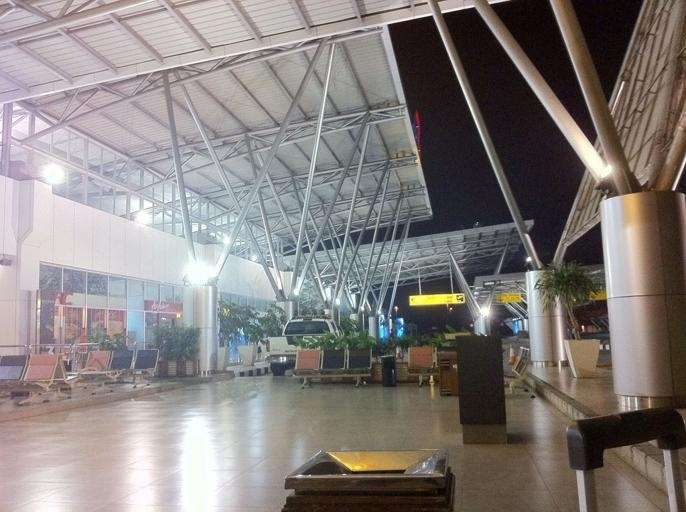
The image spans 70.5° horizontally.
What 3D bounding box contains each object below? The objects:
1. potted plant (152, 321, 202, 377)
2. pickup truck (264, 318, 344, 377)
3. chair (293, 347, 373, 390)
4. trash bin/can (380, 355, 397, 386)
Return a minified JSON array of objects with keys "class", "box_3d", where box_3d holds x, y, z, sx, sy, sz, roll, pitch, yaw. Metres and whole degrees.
[{"class":"potted plant","box_3d":[-7.648,4.339,22.787,2.779,3.014,2.006,1,-8,-5]},{"class":"pickup truck","box_3d":[-2.347,4.074,22.028,2.083,1.815,3.791,-1,-2,13]},{"class":"chair","box_3d":[-0.331,4.185,18.464,2.878,1.421,2.250,-4,-11,2]},{"class":"trash bin/can","box_3d":[1.645,4.062,17.200,0.451,1.051,0.529,-3,-10,0]}]
